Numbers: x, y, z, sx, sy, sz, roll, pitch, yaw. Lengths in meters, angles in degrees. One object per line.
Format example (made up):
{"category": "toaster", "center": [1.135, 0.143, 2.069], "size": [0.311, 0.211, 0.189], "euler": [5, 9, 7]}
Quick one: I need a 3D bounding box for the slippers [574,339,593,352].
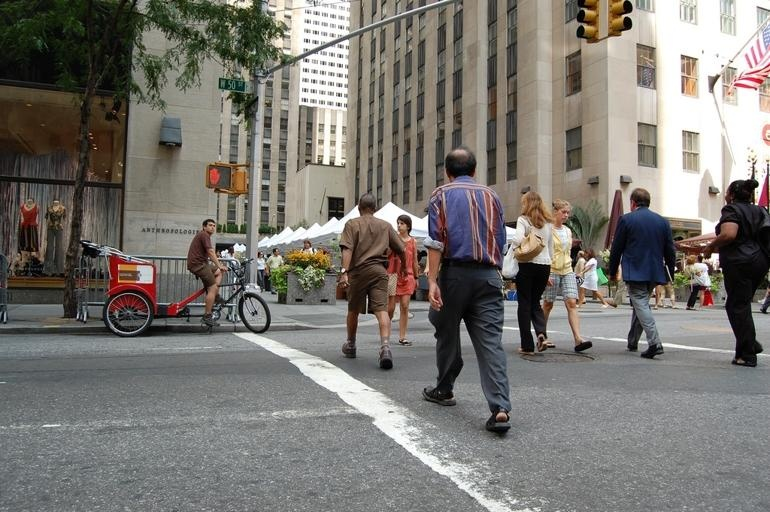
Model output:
{"category": "slippers", "center": [3.082, 1.403, 11.046], "size": [0.150, 0.105, 0.276], "euler": [5, -24, -35]}

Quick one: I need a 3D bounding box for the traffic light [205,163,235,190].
{"category": "traffic light", "center": [-3.829, -1.847, 16.465], "size": [0.587, 0.614, 0.276], "euler": [-1, 8, -13]}

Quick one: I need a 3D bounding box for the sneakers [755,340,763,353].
{"category": "sneakers", "center": [5.425, 1.305, 10.242], "size": [0.152, 0.187, 0.198], "euler": [1, 0, 25]}

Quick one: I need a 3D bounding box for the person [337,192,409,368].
{"category": "person", "center": [-0.184, 0.322, 10.648], "size": [1.205, 2.489, 0.875], "euler": [7, 10, 41]}

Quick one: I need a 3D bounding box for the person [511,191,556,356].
{"category": "person", "center": [2.252, 0.294, 10.837], "size": [0.499, 2.537, 0.856], "euler": [4, 9, 26]}

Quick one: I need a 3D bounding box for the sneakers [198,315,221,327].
{"category": "sneakers", "center": [-3.335, 1.251, 13.539], "size": [0.436, 0.214, 0.156], "euler": [-2, 13, -31]}

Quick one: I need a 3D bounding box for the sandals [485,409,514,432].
{"category": "sandals", "center": [1.190, 1.724, 7.450], "size": [0.262, 0.238, 0.193], "euler": [2, 8, 8]}

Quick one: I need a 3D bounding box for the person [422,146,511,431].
{"category": "person", "center": [0.876, 0.508, 7.705], "size": [0.873, 2.566, 0.963], "euler": [1, 8, 3]}

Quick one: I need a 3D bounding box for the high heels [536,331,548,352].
{"category": "high heels", "center": [2.402, 1.347, 10.976], "size": [0.124, 0.156, 0.364], "euler": [-3, -32, -1]}

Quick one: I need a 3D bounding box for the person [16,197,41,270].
{"category": "person", "center": [-9.172, -0.633, 18.282], "size": [0.504, 1.680, 0.302], "euler": [-4, 9, -30]}

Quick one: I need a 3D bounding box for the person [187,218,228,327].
{"category": "person", "center": [-3.376, 0.251, 13.707], "size": [0.838, 2.027, 0.702], "euler": [-3, 1, -34]}

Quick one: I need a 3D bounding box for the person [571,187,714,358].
{"category": "person", "center": [3.959, 0.243, 11.000], "size": [0.928, 2.529, 0.820], "euler": [4, 8, 24]}

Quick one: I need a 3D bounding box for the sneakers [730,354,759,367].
{"category": "sneakers", "center": [5.153, 1.494, 10.139], "size": [0.136, 0.118, 0.390], "euler": [1, 2, -6]}

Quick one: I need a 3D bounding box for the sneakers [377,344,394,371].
{"category": "sneakers", "center": [0.018, 1.399, 9.965], "size": [0.182, 0.308, 0.353], "euler": [0, 8, -1]}

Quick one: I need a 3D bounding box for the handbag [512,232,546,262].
{"category": "handbag", "center": [2.117, -0.124, 10.507], "size": [0.297, 0.304, 0.157], "euler": [-34, -1, 7]}

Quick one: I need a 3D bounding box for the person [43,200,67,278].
{"category": "person", "center": [-8.595, -0.501, 18.516], "size": [0.443, 1.938, 0.471], "euler": [0, 8, -4]}

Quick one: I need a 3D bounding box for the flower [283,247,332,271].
{"category": "flower", "center": [-2.240, 0.123, 21.029], "size": [1.278, 0.551, 0.907], "euler": [-1, 8, -9]}

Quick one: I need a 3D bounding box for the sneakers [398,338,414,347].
{"category": "sneakers", "center": [0.354, 1.500, 12.286], "size": [0.219, 0.099, 0.092], "euler": [-5, -5, 39]}
